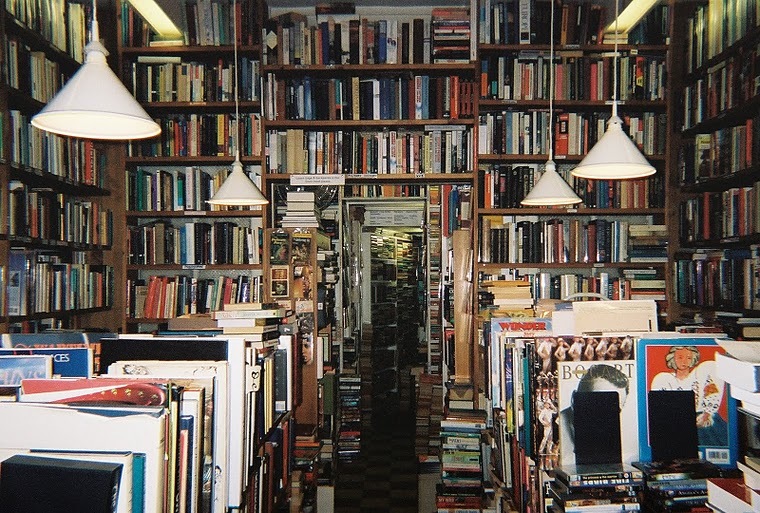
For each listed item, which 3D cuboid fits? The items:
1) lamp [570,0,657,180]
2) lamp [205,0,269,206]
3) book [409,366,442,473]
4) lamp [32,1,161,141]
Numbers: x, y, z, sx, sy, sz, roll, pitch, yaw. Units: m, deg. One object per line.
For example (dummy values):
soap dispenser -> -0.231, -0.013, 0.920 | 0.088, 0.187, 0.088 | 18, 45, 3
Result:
lamp -> 1.521, -1.183, 7.002 | 0.516, 1.488, 1.213 | -3, -11, 14
lamp -> -1.014, -1.147, 7.637 | 0.379, 1.699, 1.040 | 1, -11, -6
book -> 0.367, 1.346, 8.536 | 0.262, 0.747, 0.701 | -1, -1, 2
lamp -> -1.699, -1.013, 6.248 | 0.725, 0.831, 0.754 | 1, 0, -27
